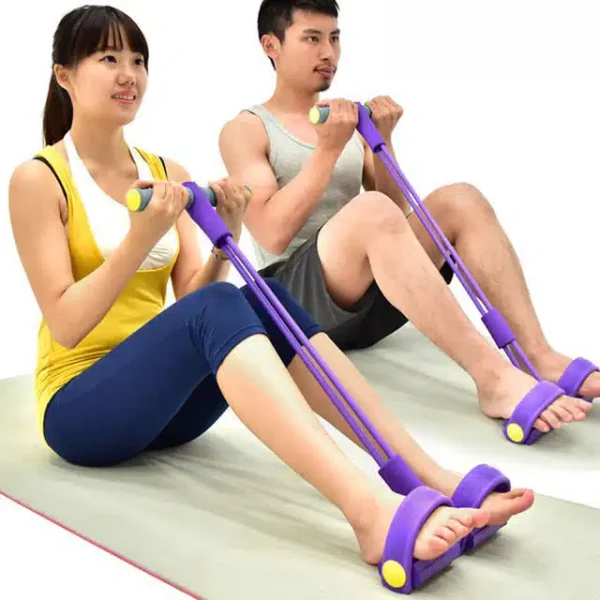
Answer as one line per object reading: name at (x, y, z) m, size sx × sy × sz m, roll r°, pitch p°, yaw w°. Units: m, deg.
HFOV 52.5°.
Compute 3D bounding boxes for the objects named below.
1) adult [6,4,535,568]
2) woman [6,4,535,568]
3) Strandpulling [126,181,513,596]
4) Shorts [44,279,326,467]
adult at (-0.097, -0.215, 1.660) m, size 1.353 × 1.467 × 0.642 m, roll 7°, pitch 15°, yaw 22°
woman at (-0.090, -0.198, 1.679) m, size 1.353 × 1.467 × 0.642 m, roll 7°, pitch 15°, yaw 22°
Strandpulling at (0.043, 0.109, 1.154) m, size 0.662 × 0.661 × 0.357 m, roll 5°, pitch 8°, yaw 32°
Shorts at (-0.282, 0.166, 1.270) m, size 0.578 × 0.215 × 0.359 m, roll -32°, pitch -3°, yaw 18°
